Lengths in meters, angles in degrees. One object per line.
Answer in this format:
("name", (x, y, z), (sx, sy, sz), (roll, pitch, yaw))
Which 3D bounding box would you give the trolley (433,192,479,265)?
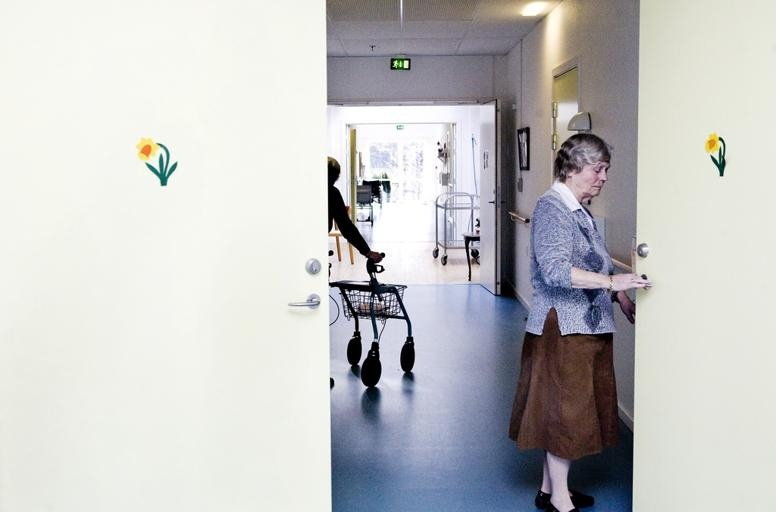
("trolley", (1.436, -0.554, 12.804), (1.086, 1.849, 1.600), (1, 4, -1))

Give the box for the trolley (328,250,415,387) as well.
("trolley", (-0.132, 0.555, 5.723), (0.557, 0.907, 0.605), (-21, -26, 40))
